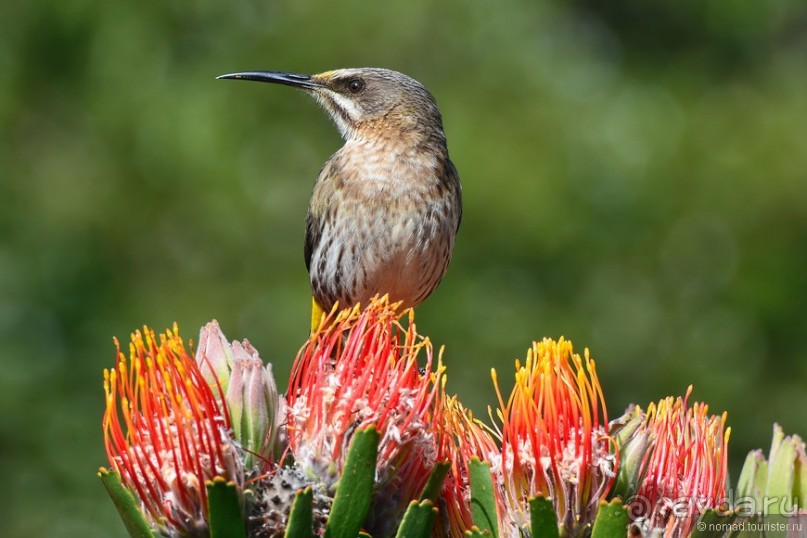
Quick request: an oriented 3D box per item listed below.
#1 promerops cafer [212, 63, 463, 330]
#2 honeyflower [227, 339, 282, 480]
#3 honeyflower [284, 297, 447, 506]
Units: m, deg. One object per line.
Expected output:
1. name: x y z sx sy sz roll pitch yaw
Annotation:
1. promerops cafer: -0.376 -0.498 6.025 1.003 2.071 1.140 -9 11 -35
2. honeyflower: -0.550 0.561 3.882 0.133 0.439 0.153 -2 3 33
3. honeyflower: -0.104 0.572 4.172 0.514 0.855 0.764 7 -7 1
